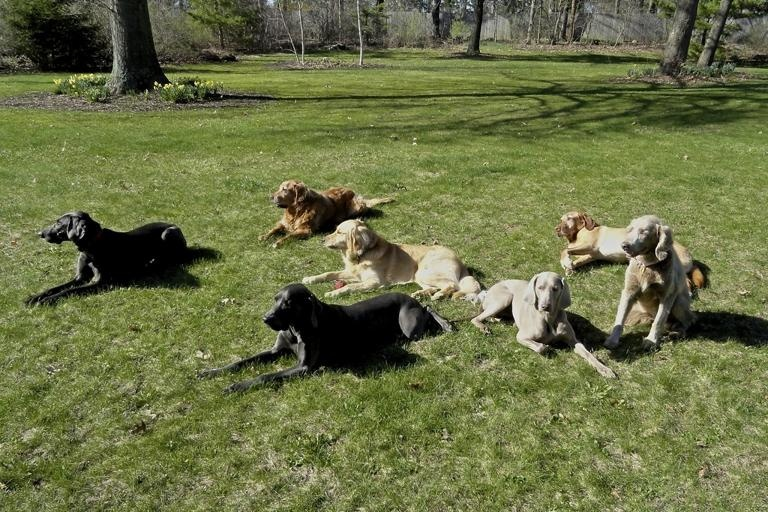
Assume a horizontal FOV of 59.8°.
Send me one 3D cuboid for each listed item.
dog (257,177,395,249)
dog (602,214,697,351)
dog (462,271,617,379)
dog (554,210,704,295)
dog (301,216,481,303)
[{"bbox_3d":[-1.343,-1.273,15.555,3.118,1.069,1.086,-27,18,-33],"label":"dog"},{"bbox_3d":[5.105,0.295,12.455,1.215,2.287,2.978,9,16,38],"label":"dog"},{"bbox_3d":[2.644,0.990,11.824,1.293,1.210,2.782,-12,18,-15],"label":"dog"},{"bbox_3d":[4.539,-0.046,13.636,3.442,1.371,1.314,9,10,1],"label":"dog"},{"bbox_3d":[0.360,0.180,13.425,2.582,1.060,1.862,1,3,-6],"label":"dog"}]
